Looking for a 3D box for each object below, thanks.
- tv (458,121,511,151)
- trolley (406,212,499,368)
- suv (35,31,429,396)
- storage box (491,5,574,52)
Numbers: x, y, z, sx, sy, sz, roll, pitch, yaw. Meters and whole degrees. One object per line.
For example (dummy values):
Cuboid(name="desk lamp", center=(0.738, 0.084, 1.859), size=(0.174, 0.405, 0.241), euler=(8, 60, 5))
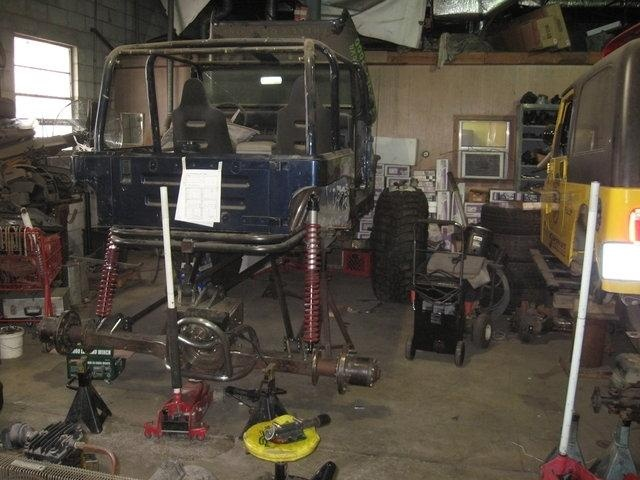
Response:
Cuboid(name="tv", center=(3.158, -2.038, 11.305), size=(0.964, 0.553, 0.136), euler=(0, 8, 4))
Cuboid(name="trolley", center=(1.575, 0.461, 6.710), size=(0.893, 1.583, 1.567), euler=(7, 15, 30))
Cuboid(name="suv", center=(-0.822, -0.526, 6.784), size=(3.475, 3.442, 3.731), euler=(3, 15, 8))
Cuboid(name="storage box", center=(4.068, -3.942, 11.368), size=(1.340, 0.694, 0.838), euler=(5, 20, 42))
